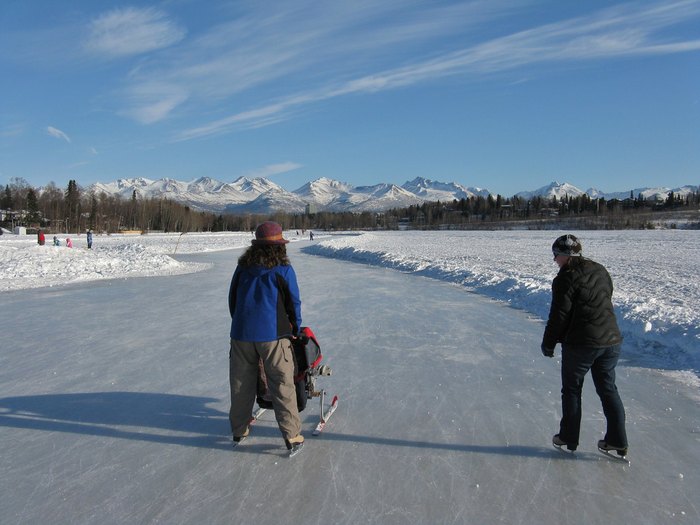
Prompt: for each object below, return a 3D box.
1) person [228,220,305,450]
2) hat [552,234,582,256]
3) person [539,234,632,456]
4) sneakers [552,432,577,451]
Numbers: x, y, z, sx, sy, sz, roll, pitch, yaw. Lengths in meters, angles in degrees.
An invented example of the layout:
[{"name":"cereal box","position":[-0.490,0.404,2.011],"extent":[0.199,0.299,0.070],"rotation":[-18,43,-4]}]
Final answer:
[{"name":"person","position":[-0.945,0.854,5.783],"extent":[0.853,2.509,0.581],"rotation":[1,13,5]},{"name":"hat","position":[2.362,-0.191,5.647],"extent":[0.243,0.210,0.261],"rotation":[6,18,-1]},{"name":"person","position":[2.578,0.927,5.621],"extent":[0.910,2.410,0.475],"rotation":[5,14,23]},{"name":"sneakers","position":[2.383,2.028,5.777],"extent":[0.121,0.199,0.346],"rotation":[-7,-18,43]}]
